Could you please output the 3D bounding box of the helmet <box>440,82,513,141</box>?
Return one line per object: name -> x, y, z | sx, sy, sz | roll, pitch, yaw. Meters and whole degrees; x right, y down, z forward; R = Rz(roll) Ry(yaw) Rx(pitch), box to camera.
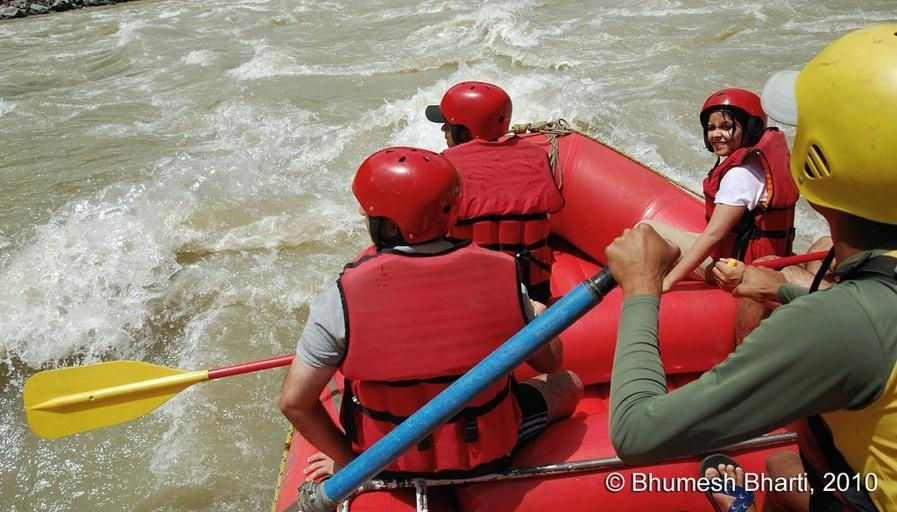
helmet -> 0.279, -1.427, 7.789 | 0.645, 0.477, 0.484 | 5, 41, 5
